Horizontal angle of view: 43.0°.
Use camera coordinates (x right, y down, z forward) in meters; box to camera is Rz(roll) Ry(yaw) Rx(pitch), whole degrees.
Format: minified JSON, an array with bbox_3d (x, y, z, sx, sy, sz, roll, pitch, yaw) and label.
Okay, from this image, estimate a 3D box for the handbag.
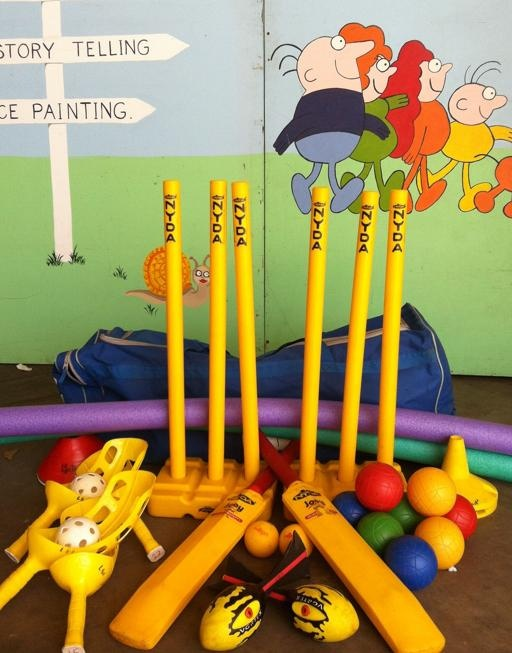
[{"bbox_3d":[-0.025,0.149,1.974,1.033,0.278,0.520,0,-3,0],"label":"handbag"}]
